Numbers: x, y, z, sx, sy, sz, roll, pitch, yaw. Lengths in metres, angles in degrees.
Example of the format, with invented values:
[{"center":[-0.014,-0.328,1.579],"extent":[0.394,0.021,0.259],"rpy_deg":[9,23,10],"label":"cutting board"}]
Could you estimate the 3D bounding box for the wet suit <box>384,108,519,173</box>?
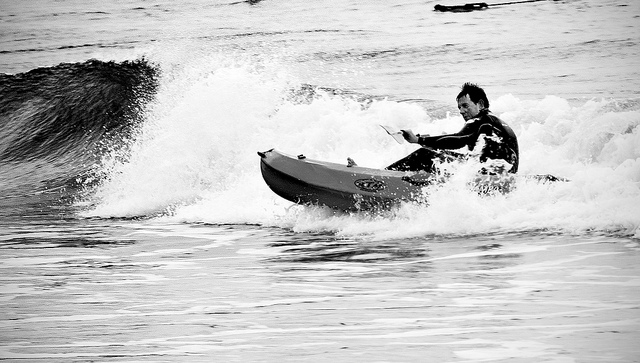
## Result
[{"center":[2.553,-0.687,17.765],"extent":[2.198,1.013,0.845],"rpy_deg":[-4,52,5],"label":"wet suit"}]
